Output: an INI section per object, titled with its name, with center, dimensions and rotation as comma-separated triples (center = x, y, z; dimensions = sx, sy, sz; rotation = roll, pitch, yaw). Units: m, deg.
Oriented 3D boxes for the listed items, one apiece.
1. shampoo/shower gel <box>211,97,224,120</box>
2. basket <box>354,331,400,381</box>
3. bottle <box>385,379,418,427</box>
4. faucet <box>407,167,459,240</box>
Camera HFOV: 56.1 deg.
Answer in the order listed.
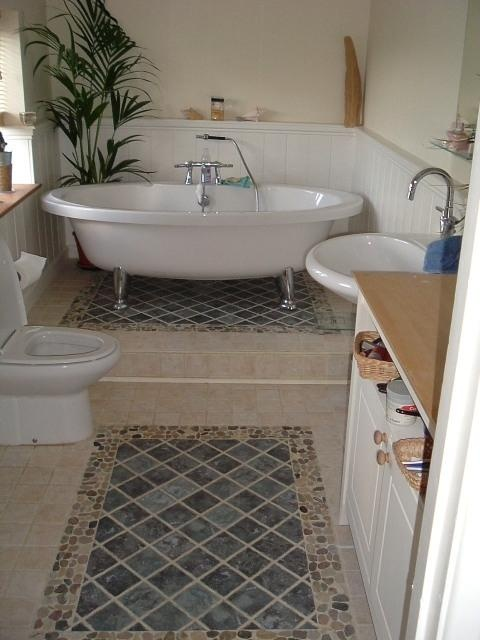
[shampoo/shower gel]
center = -0.223, -2.051, 4.395
dimensions = 0.120, 0.206, 0.099
rotation = 1, 19, 3
[basket]
center = 0.378, 0.096, 1.305
dimensions = 0.106, 0.056, 0.162
rotation = -2, 13, 0
[bottle]
center = 0.401, 0.216, 1.176
dimensions = 0.097, 0.113, 0.102
rotation = 2, 31, 14
[faucet]
center = 0.702, -0.423, 1.634
dimensions = 0.167, 0.243, 0.318
rotation = 9, 22, 24
